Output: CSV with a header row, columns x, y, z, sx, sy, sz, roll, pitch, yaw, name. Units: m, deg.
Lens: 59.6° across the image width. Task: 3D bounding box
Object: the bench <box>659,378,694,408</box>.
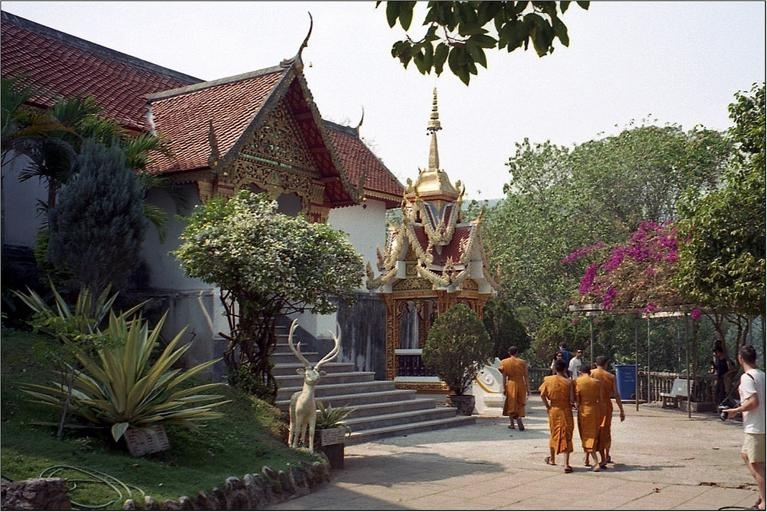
x,y,z,sx,sy,sz,roll,pitch,yaw,name
10.014,4.743,22.737,0.815,1.139,1.495,5,-11,-29,bench
